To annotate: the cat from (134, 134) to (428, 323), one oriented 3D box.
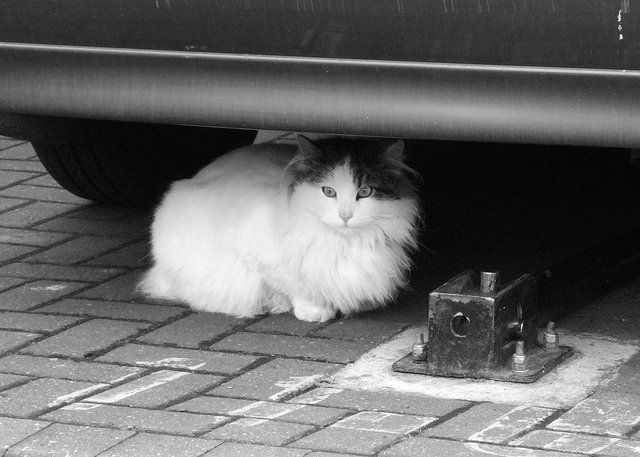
[{"bbox_3d":[-0.189,-0.012,3.295,1.132,0.605,0.741,8,34,15],"label":"cat"}]
